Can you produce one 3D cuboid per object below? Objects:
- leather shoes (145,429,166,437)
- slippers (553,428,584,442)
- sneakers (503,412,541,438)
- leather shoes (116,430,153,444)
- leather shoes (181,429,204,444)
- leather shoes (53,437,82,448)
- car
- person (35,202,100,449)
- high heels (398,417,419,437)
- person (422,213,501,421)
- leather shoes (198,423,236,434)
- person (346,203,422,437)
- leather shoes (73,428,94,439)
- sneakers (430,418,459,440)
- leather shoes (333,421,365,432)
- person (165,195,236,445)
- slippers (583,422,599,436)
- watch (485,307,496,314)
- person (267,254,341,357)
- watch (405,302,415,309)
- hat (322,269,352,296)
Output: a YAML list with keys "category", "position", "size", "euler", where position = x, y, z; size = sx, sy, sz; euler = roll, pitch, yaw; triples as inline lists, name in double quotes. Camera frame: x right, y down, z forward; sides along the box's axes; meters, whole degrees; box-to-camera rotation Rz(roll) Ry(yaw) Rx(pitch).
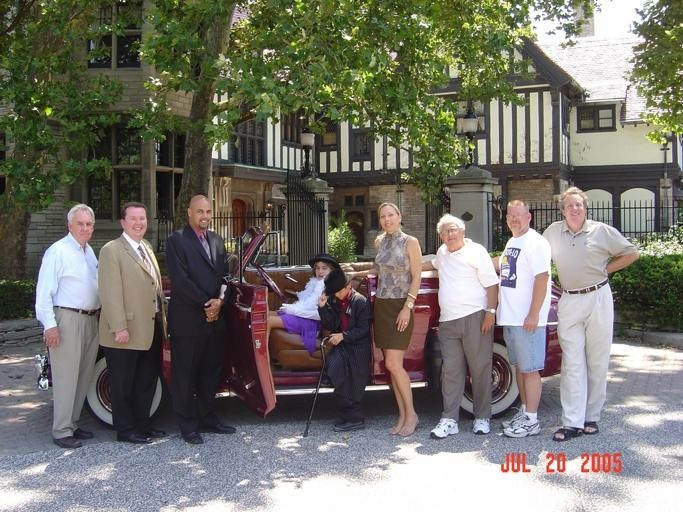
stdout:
- category: "leather shoes"
  position: [-1.950, 1.857, 6.522]
  size: [0.186, 0.089, 0.078]
  euler: [0, -3, -7]
- category: "slippers"
  position: [2.283, 1.801, 6.297]
  size: [0.302, 0.079, 0.118]
  euler: [3, -5, -26]
- category: "sneakers"
  position: [1.790, 1.740, 6.459]
  size: [0.466, 0.256, 0.168]
  euler: [-3, 0, -14]
- category: "leather shoes"
  position: [-2.108, 1.842, 6.380]
  size: [0.366, 0.120, 0.136]
  euler: [1, -3, 5]
- category: "leather shoes"
  position: [-1.504, 1.831, 6.304]
  size: [0.091, 0.078, 0.245]
  euler: [2, -6, -27]
- category: "leather shoes"
  position: [-2.709, 1.862, 6.183]
  size: [0.261, 0.117, 0.112]
  euler: [-1, -5, 9]
- category: "car"
  position: [-0.333, 1.047, 6.913]
  size: [4.124, 1.480, 2.879]
  euler: [1, -2, -5]
- category: "person"
  position: [-2.737, 0.684, 6.391]
  size: [0.476, 2.375, 0.640]
  euler: [3, 7, 30]
- category: "high heels"
  position: [0.685, 1.770, 6.513]
  size: [0.125, 0.177, 0.255]
  euler: [5, 9, 44]
- category: "person"
  position: [1.334, 0.658, 6.578]
  size: [0.604, 2.099, 0.457]
  euler: [1, 6, 11]
- category: "leather shoes"
  position: [-1.305, 1.821, 6.589]
  size: [0.387, 0.171, 0.140]
  euler: [-2, -4, 0]
- category: "person"
  position: [0.592, 0.644, 6.672]
  size: [0.506, 2.381, 0.704]
  euler: [0, 6, 7]
- category: "leather shoes"
  position: [-2.691, 1.851, 6.469]
  size: [0.212, 0.096, 0.081]
  euler: [0, 0, 12]
- category: "sneakers"
  position: [1.065, 1.796, 6.446]
  size: [0.343, 0.171, 0.134]
  euler: [7, -10, -44]
- category: "leather shoes"
  position: [0.083, 1.803, 6.642]
  size: [0.287, 0.134, 0.116]
  euler: [5, -10, -7]
- category: "person"
  position: [-1.474, 0.784, 6.507]
  size: [0.629, 2.177, 0.589]
  euler: [-3, 6, -22]
- category: "slippers"
  position: [2.568, 1.771, 6.399]
  size: [0.185, 0.087, 0.159]
  euler: [0, 6, 2]
- category: "watch"
  position: [1.573, 0.576, 6.573]
  size: [0.077, 0.056, 0.079]
  euler: [2, -3, 16]
- category: "person"
  position: [-0.566, 0.644, 7.260]
  size: [0.821, 1.465, 0.571]
  euler: [12, 2, -25]
- category: "watch"
  position: [0.718, 0.531, 6.587]
  size: [0.064, 0.071, 0.019]
  euler: [4, -16, -14]
- category: "hat"
  position: [-0.051, 0.293, 6.756]
  size: [0.255, 0.238, 0.104]
  euler: [-13, -43, 31]
